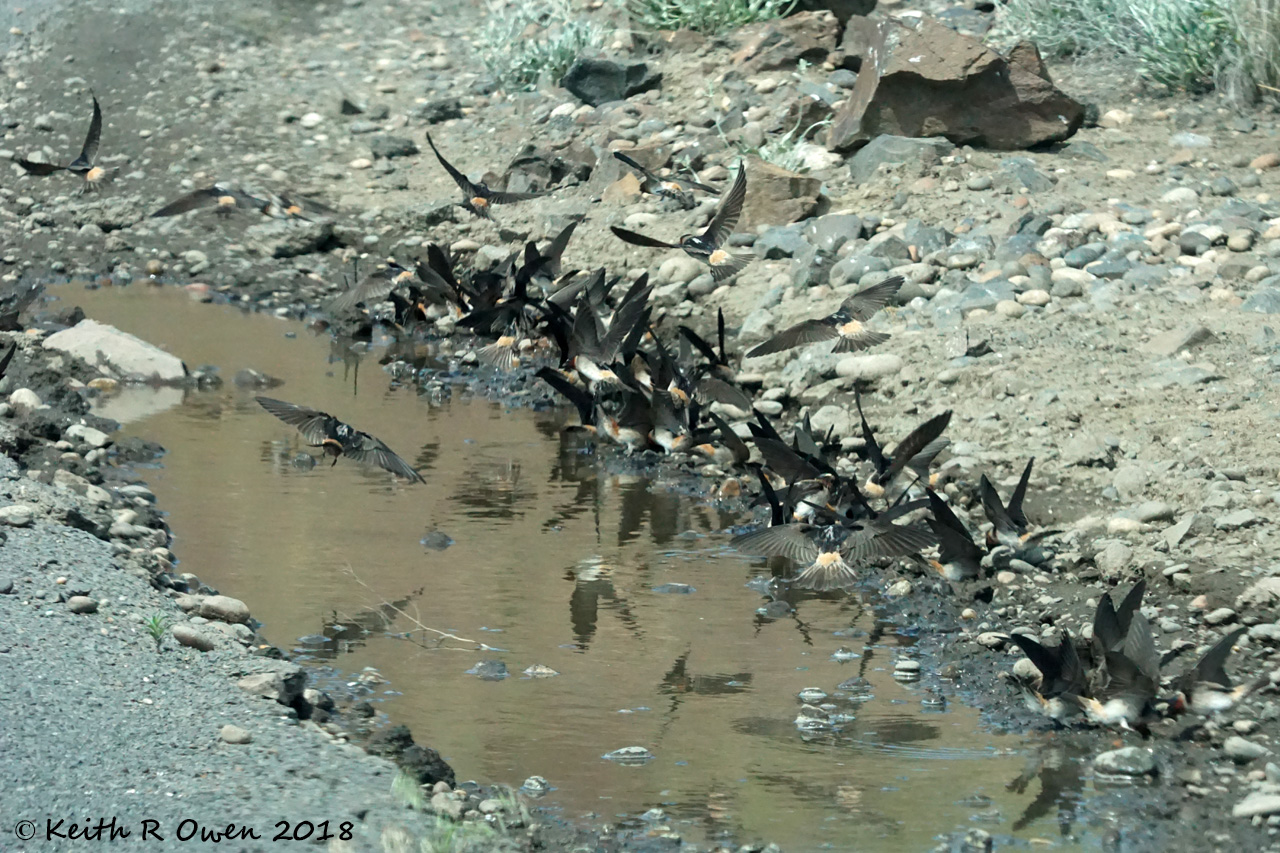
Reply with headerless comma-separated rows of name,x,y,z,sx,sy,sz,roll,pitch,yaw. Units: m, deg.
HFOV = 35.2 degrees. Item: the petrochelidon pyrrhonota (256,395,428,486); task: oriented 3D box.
petrochelidon pyrrhonota,-1.926,0.059,12.787,1.062,0.619,0.269,25,74,-6
